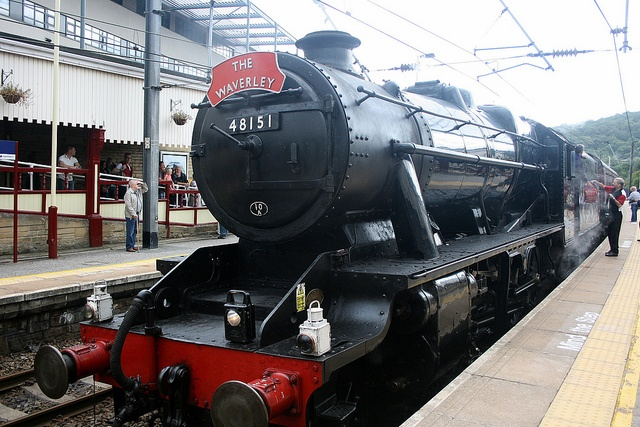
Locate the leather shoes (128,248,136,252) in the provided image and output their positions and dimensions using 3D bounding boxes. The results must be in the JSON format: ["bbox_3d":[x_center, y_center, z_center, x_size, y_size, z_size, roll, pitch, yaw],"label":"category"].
[{"bbox_3d":[-5.190,1.003,11.877,0.187,0.076,0.069,-3,-2,25],"label":"leather shoes"}]

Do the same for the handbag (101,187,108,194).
[{"bbox_3d":[-6.981,-0.745,13.881,0.175,0.210,0.209,1,-1,-8],"label":"handbag"}]

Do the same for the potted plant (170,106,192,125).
[{"bbox_3d":[-5.466,-3.866,16.865,0.614,0.430,0.596,1,0,-38],"label":"potted plant"}]
